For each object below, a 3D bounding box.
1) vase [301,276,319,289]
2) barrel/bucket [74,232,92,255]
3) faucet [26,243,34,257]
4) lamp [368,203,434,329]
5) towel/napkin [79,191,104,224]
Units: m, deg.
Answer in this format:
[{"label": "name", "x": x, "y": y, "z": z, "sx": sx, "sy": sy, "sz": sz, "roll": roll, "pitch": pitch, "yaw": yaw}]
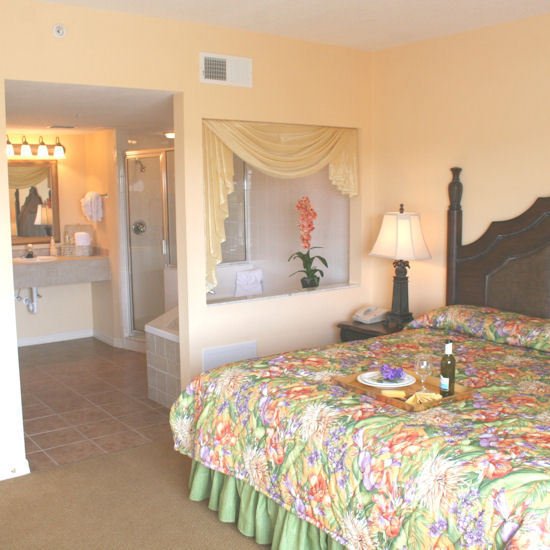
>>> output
[{"label": "vase", "x": 0.297, "y": 0.058, "z": 4.451, "sx": 0.126, "sy": 0.074, "sz": 0.092, "roll": -5, "pitch": 5, "yaw": -18}, {"label": "barrel/bucket", "x": -2.276, "y": -0.379, "z": 6.136, "sx": 0.198, "sy": 0.272, "sz": 0.216, "roll": -1, "pitch": 7, "yaw": 0}, {"label": "faucet", "x": -2.804, "y": -0.286, "z": 5.916, "sx": 0.094, "sy": 0.141, "sz": 0.111, "roll": -4, "pitch": 8, "yaw": -24}, {"label": "lamp", "x": 0.981, "y": -0.078, "z": 4.041, "sx": 0.464, "sy": 0.952, "sz": 0.424, "roll": -3, "pitch": 8, "yaw": -18}, {"label": "towel/napkin", "x": -2.078, "y": -0.781, "z": 5.883, "sx": 0.347, "sy": 0.318, "sz": 0.152, "roll": 16, "pitch": 16, "yaw": 40}]
